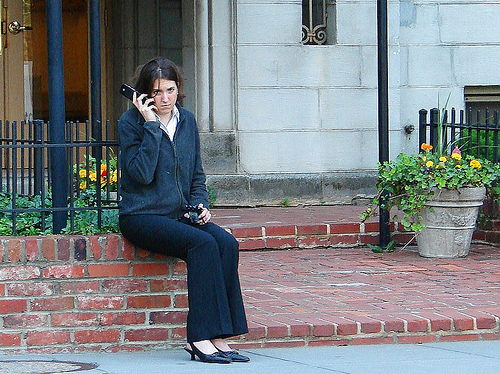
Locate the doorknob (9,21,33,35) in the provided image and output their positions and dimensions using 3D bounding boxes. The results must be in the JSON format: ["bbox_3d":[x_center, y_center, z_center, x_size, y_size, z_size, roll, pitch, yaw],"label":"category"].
[{"bbox_3d":[-2.889,-2.010,12.132,0.228,0.093,0.150,4,-22,18],"label":"doorknob"}]

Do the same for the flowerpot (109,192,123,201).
[{"bbox_3d":[-1.065,0.074,7.667,0.075,0.079,0.131,-5,-4,-3],"label":"flowerpot"}]

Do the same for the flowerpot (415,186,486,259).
[{"bbox_3d":[2.017,0.369,9.621,0.667,0.726,0.275,0,5,10],"label":"flowerpot"}]

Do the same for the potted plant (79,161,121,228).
[{"bbox_3d":[-1.217,0.033,7.784,0.310,0.500,1.474,-2,5,-10],"label":"potted plant"}]

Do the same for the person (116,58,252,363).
[{"bbox_3d":[-0.475,0.152,7.099,1.005,2.192,0.568,0,5,15],"label":"person"}]

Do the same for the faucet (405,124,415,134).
[{"bbox_3d":[2.056,-0.736,12.359,0.100,0.116,0.120,0,-32,-16],"label":"faucet"}]

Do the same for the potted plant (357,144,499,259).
[{"bbox_3d":[1.881,0.089,9.833,1.407,0.920,1.230,-1,2,-35],"label":"potted plant"}]

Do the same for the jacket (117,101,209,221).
[{"bbox_3d":[-0.646,-0.168,7.239,0.774,0.893,0.606,2,0,-40],"label":"jacket"}]
